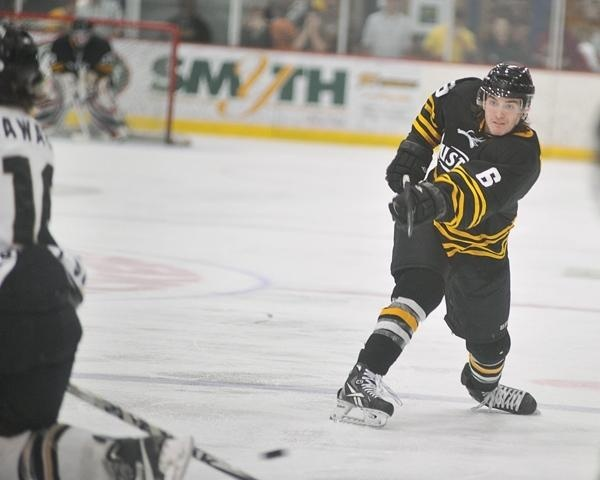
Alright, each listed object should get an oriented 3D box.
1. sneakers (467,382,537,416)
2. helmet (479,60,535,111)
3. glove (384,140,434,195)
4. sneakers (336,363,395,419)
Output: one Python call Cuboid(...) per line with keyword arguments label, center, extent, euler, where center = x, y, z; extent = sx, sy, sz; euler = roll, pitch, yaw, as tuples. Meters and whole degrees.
Cuboid(label="sneakers", center=(0.714, 0.554, 3.395), extent=(0.172, 0.095, 0.071), euler=(9, -23, 28))
Cuboid(label="helmet", center=(0.679, -0.514, 3.241), extent=(0.139, 0.128, 0.179), euler=(12, 22, 25))
Cuboid(label="glove", center=(0.376, -0.278, 3.506), extent=(0.157, 0.196, 0.076), euler=(25, -3, 43))
Cuboid(label="sneakers", center=(0.214, 0.499, 3.140), extent=(0.079, 0.193, 0.240), euler=(6, 1, -45))
